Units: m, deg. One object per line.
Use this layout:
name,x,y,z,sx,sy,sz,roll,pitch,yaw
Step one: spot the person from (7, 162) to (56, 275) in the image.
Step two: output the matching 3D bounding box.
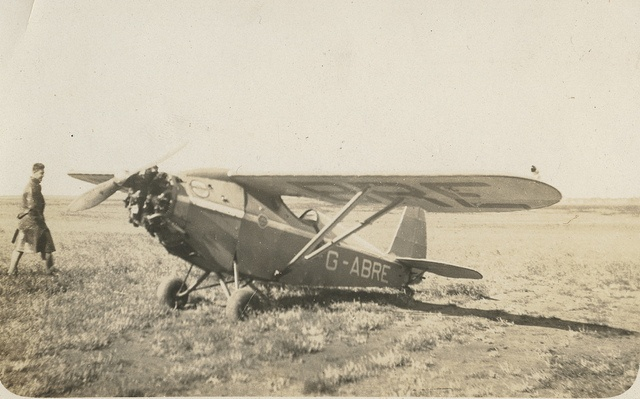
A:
person,-3.902,0.260,8.992,0.584,1.509,0.168,2,1,-17
